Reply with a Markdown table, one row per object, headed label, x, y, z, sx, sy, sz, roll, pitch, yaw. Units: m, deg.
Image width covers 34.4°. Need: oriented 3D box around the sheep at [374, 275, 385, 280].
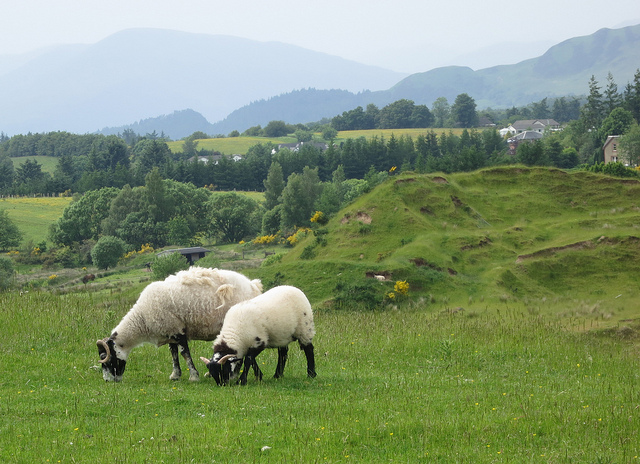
| label | x | y | z | sx | sy | sz | roll | pitch | yaw |
| --- | --- | --- | --- | --- | --- | --- | --- | --- | --- |
| sheep | 11.742 | 9.228 | 207.739 | 1.748 | 0.754 | 0.411 | -1 | 5 | 4 |
